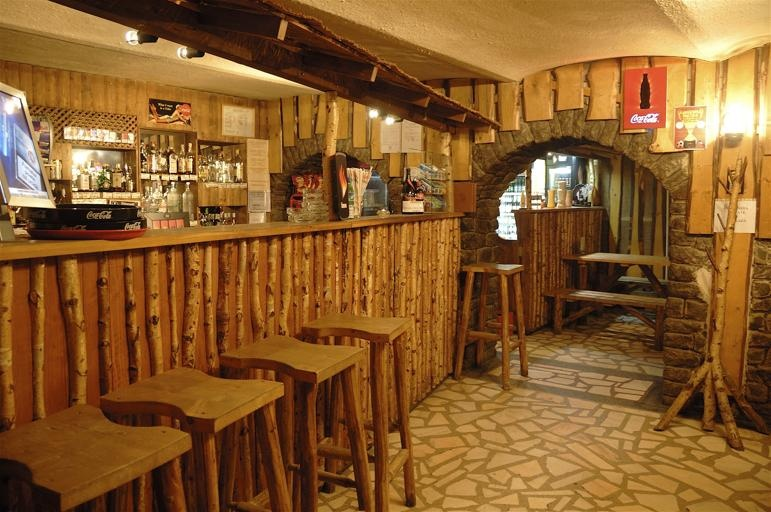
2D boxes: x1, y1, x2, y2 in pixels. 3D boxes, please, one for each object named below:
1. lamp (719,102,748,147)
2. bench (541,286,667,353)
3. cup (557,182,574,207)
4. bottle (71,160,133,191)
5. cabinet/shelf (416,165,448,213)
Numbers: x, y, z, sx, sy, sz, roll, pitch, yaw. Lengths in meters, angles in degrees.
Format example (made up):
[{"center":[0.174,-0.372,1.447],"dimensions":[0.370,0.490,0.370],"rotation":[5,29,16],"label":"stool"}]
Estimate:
[{"center":[3.201,-1.207,5.119],"dimensions":[0.198,0.391,0.124],"rotation":[7,16,27],"label":"lamp"},{"center":[3.113,0.762,8.074],"dimensions":[1.482,0.741,2.054],"rotation":[4,13,17],"label":"bench"},{"center":[2.831,-0.983,8.784],"dimensions":[0.201,0.408,0.584],"rotation":[4,14,15],"label":"cup"},{"center":[-3.249,-0.922,6.413],"dimensions":[0.656,0.336,0.424],"rotation":[-10,16,-36],"label":"bottle"},{"center":[0.530,-0.756,6.175],"dimensions":[0.215,0.509,0.464],"rotation":[10,17,36],"label":"cabinet/shelf"}]
